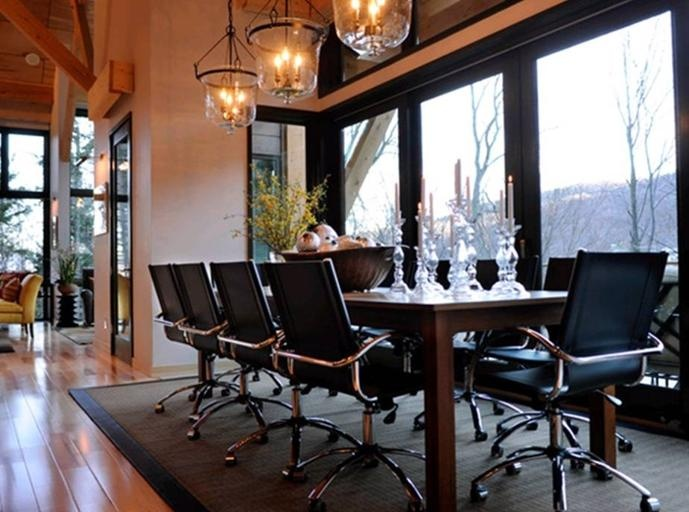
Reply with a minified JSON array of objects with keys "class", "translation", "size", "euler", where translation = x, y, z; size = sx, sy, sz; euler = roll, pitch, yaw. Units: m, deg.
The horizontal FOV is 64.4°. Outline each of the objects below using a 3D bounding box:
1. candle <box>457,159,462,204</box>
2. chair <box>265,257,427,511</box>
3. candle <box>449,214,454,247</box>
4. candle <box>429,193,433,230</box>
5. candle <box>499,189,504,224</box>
[{"class":"candle","translation":[0.602,-0.387,2.906],"size":[0.030,0.237,0.084],"euler":[-4,3,11]},{"class":"chair","translation":[-0.008,0.584,3.158],"size":[1.062,1.419,1.019],"euler":[2,-3,-32]},{"class":"candle","translation":[0.587,-0.131,2.977],"size":[0.020,0.175,0.039],"euler":[-2,3,32]},{"class":"candle","translation":[0.481,-0.248,3.044],"size":[0.021,0.191,0.095],"euler":[-4,3,9]},{"class":"candle","translation":[0.835,-0.258,2.905],"size":[0.020,0.176,0.053],"euler":[-3,3,14]}]
